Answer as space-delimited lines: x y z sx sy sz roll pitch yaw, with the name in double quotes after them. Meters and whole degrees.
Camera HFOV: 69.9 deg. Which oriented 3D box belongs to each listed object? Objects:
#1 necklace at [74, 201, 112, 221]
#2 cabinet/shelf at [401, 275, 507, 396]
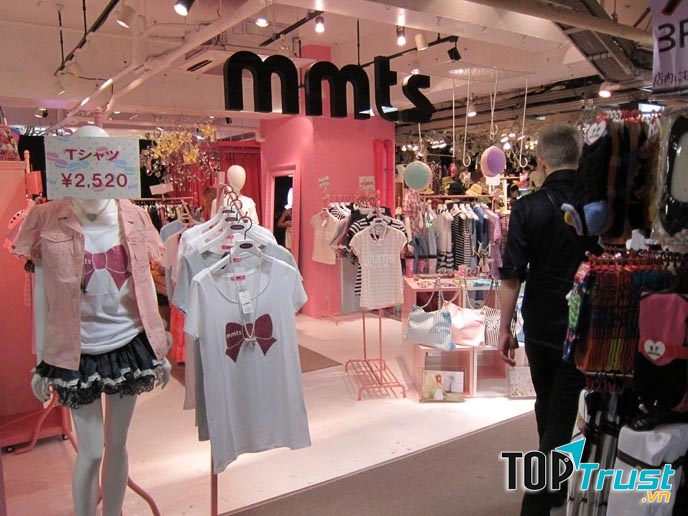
-1.336 -0.233 2.606 0.104 0.123 0.133 -1 0 -32 "necklace"
1.206 0.766 5.355 1.078 1.161 1.133 -1 9 -2 "cabinet/shelf"
